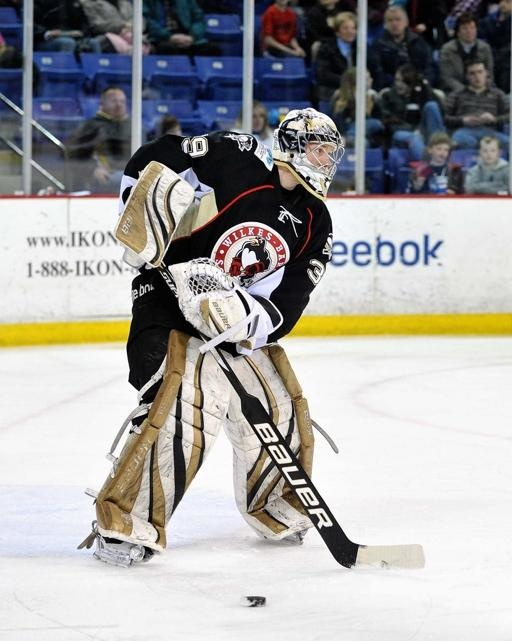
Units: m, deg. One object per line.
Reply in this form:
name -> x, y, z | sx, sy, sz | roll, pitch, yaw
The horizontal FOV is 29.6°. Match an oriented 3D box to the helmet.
helmet -> 0.120, -0.396, 2.302 | 0.214, 0.225, 0.180 | 7, 2, 33
